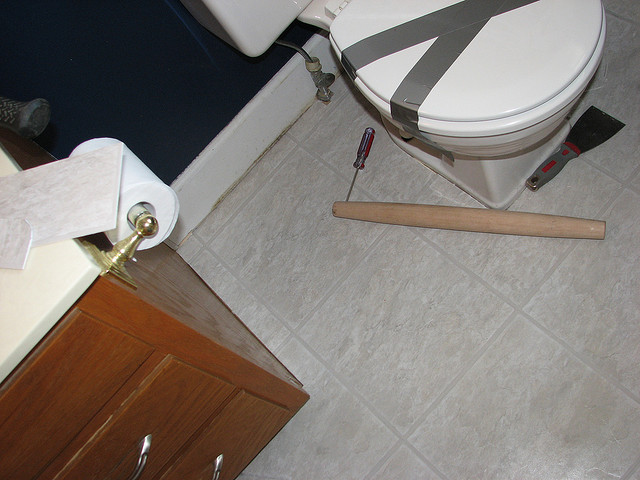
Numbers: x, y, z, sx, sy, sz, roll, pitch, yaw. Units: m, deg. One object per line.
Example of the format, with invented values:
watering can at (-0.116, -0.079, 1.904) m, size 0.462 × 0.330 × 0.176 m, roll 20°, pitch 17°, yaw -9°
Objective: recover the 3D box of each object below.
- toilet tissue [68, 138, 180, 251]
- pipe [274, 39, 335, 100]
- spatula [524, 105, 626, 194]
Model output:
toilet tissue at (-0.315, -0.060, 0.898) m, size 0.085 × 0.136 × 0.150 m, roll 20°, pitch 74°, yaw 34°
pipe at (-0.039, -0.522, 1.569) m, size 0.187 × 0.193 × 0.057 m, roll 17°, pitch 63°, yaw 36°
spatula at (0.677, -0.236, 1.412) m, size 0.136 × 0.036 × 0.351 m, roll 40°, pitch 83°, yaw 13°
